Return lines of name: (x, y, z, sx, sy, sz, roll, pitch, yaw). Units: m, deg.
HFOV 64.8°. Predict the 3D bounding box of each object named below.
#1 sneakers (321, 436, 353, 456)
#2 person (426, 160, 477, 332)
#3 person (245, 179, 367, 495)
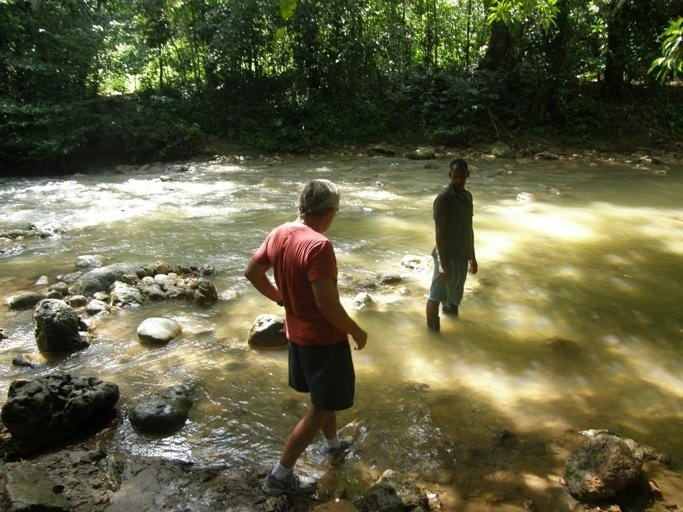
sneakers: (-0.038, 1.934, 5.493, 0.273, 0.174, 0.095, -20, 36, -21)
person: (1.480, -0.117, 7.298, 0.454, 2.342, 0.665, 10, 20, 33)
person: (-0.270, 0.734, 5.113, 0.932, 2.817, 0.785, -5, 17, -14)
